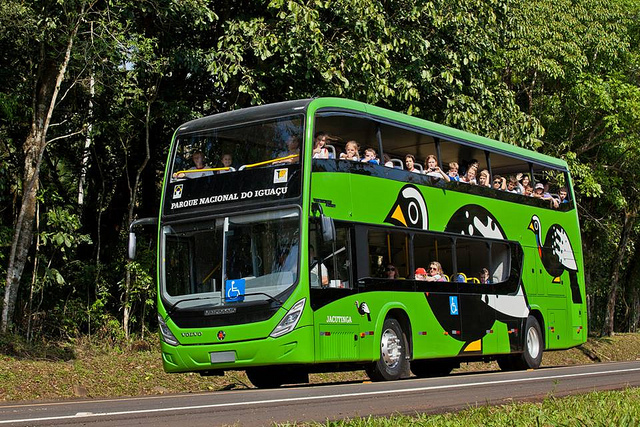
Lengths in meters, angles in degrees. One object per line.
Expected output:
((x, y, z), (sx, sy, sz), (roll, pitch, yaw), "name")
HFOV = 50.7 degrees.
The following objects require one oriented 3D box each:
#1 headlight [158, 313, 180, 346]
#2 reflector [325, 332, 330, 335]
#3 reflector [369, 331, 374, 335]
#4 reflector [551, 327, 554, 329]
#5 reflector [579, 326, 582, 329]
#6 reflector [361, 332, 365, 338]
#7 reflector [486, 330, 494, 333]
((-3.480, 2.752, 15.680), (0.455, 0.261, 0.663), (8, -31, 24), "headlight")
((0.172, 2.732, 15.194), (0.081, 0.080, 0.044), (7, -11, -43), "reflector")
((1.230, 2.890, 16.126), (0.059, 0.081, 0.114), (-6, -8, 37), "reflector")
((7.482, 3.751, 21.869), (0.080, 0.088, 0.084), (2, -3, -17), "reflector")
((8.877, 3.952, 23.082), (0.056, 0.121, 0.062), (0, -1, 7), "reflector")
((1.015, 2.902, 15.938), (0.089, 0.098, 0.095), (-1, 8, -8), "reflector")
((4.897, 3.459, 19.551), (0.166, 0.097, 0.039), (1, -1, -33), "reflector")
